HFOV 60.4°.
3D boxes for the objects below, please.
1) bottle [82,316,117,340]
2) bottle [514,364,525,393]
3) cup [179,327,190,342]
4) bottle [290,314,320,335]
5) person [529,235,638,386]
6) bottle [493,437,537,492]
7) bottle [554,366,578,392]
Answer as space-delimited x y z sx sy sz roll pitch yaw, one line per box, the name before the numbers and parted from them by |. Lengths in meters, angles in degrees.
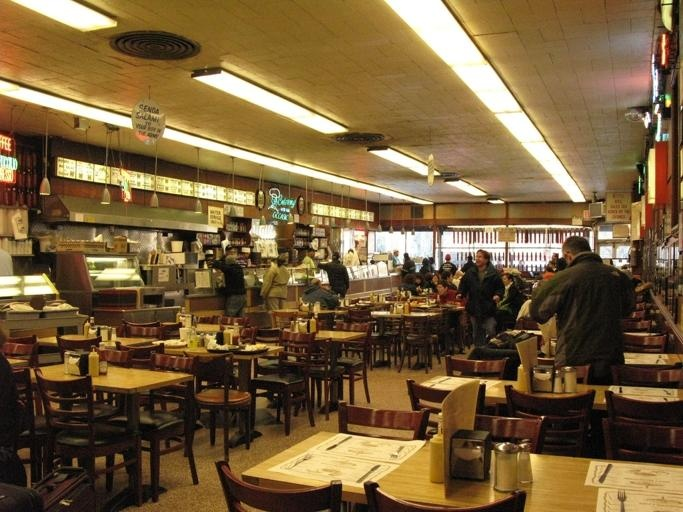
bottle | -3.011 0.888 7.133 0.595 0.197 0.322 4 2 25
bottle | 1.371 0.904 4.491 0.099 0.157 0.478 -2 -2 16
cup | -1.911 0.937 7.035 0.191 0.156 0.119 -3 -5 22
bottle | -0.525 0.934 7.905 0.362 0.287 0.195 1 -2 14
person | 2.096 0.470 5.030 0.929 1.011 0.563 -1 -2 -31
bottle | 0.829 1.027 2.924 0.295 0.243 0.158 -2 2 -41
bottle | 1.691 0.917 4.371 0.261 0.147 0.097 0 -2 -33
